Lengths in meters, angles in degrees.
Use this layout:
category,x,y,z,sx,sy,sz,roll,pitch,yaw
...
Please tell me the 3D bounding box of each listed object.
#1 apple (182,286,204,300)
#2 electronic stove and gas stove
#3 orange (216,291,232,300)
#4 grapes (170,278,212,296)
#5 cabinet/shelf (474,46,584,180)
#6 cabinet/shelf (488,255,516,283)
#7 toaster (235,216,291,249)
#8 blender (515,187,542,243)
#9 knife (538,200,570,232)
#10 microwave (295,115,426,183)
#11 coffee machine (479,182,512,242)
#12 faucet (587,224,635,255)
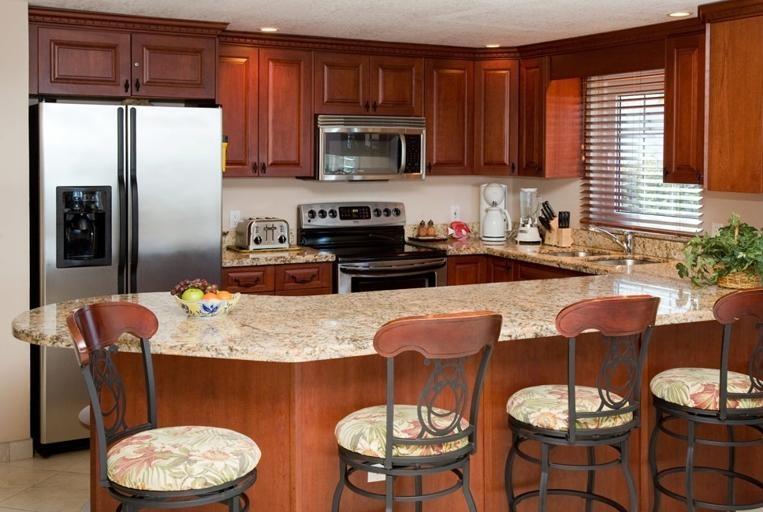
category,x,y,z,sx,sy,sz,roll,pitch,yaw
apple,-0.885,0.171,2.961,0.066,0.058,0.062,0,10,-9
electronic stove and gas stove,-0.129,-0.238,5.462,0.937,0.418,0.665,-1,3,-24
orange,-0.753,0.191,3.033,0.065,0.044,0.046,-3,-12,-34
grapes,-0.923,0.146,3.123,0.224,0.071,0.213,1,6,-5
cabinet/shelf,1.133,-1.287,5.929,0.610,1.036,0.574,7,13,33
cabinet/shelf,1.009,0.114,5.380,0.186,0.242,0.261,1,2,-19
toaster,-0.999,-0.186,5.306,0.446,0.212,0.463,6,9,38
blender,1.374,-0.379,5.911,0.220,0.489,0.525,-2,10,14
knife,1.568,-0.344,5.628,0.277,0.263,0.073,-8,-14,41
microwave,0.030,-0.954,5.690,1.111,0.551,0.555,5,11,26
coffee machine,1.058,-0.395,5.894,0.276,0.543,0.444,-3,10,9
faucet,1.851,-0.132,5.185,0.326,0.213,0.538,-6,9,-10
